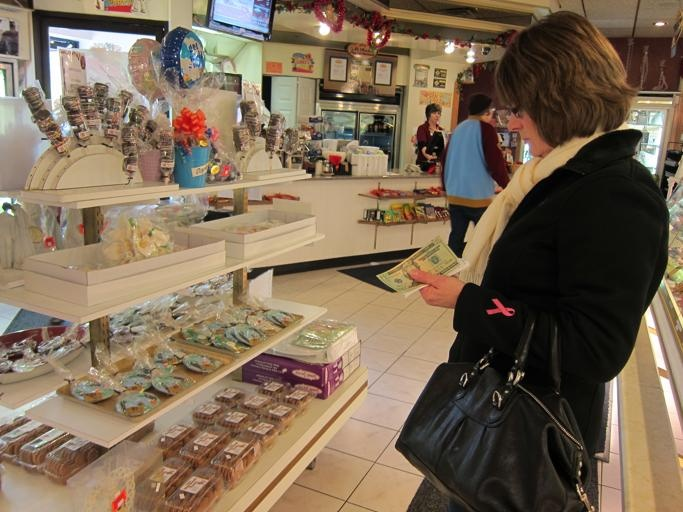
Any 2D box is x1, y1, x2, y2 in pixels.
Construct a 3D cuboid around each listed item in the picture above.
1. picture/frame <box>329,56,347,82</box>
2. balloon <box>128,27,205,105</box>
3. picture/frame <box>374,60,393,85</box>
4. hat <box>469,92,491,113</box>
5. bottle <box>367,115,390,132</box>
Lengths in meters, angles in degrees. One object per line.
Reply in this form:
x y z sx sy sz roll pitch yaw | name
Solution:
-0.097 -3.704 8.678 0.533 0.553 0.074 -2 8 -23 | picture/frame
-0.738 -0.824 1.887 0.330 0.304 0.111 2 7 -43 | balloon
0.845 -3.852 9.213 0.549 0.553 0.077 -4 11 -25 | picture/frame
1.585 -1.743 5.118 0.195 0.244 0.220 11 1 33 | hat
0.759 -2.859 9.479 0.381 0.323 0.188 0 25 -8 | bottle
